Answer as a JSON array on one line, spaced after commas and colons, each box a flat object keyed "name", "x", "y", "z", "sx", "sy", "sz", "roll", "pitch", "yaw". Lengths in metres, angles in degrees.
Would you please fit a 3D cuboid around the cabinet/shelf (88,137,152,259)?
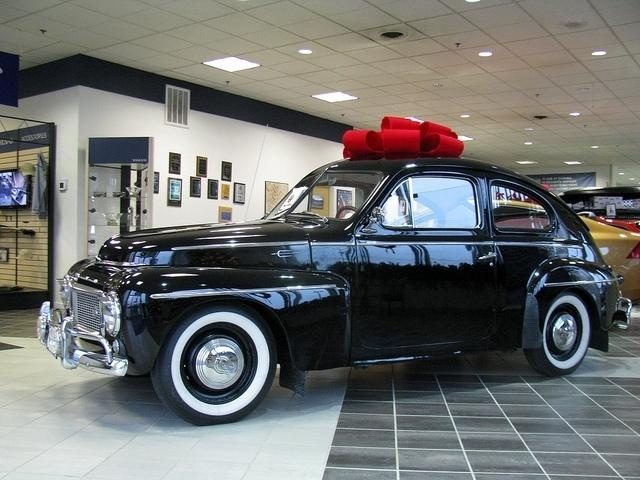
[{"name": "cabinet/shelf", "x": -3.608, "y": -0.758, "z": 8.769, "sx": 1.525, "sy": 2.026, "sz": 1.059, "roll": 4, "pitch": 4, "yaw": 25}]

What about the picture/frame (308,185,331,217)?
[{"name": "picture/frame", "x": -0.023, "y": -0.319, "z": 3.799, "sx": 0.239, "sy": 0.267, "sz": 0.020, "roll": 0, "pitch": 5, "yaw": -40}]
